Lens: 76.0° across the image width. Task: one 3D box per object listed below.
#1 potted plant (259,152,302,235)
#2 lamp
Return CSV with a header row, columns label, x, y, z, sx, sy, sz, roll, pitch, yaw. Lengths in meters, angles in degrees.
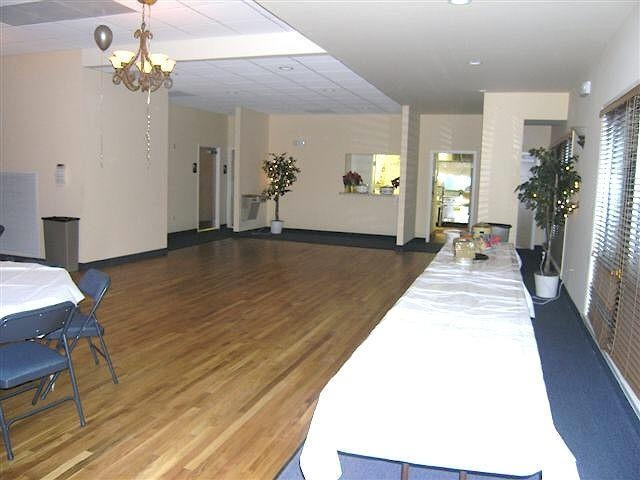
label,x,y,z,sx,sy,sz,roll,pitch,yaw
potted plant,-1.216,-1.512,12.947,1.230,2.488,1.242,-4,12,6
lamp,-2.108,-2.204,4.837,0.646,0.845,0.629,0,6,-21
